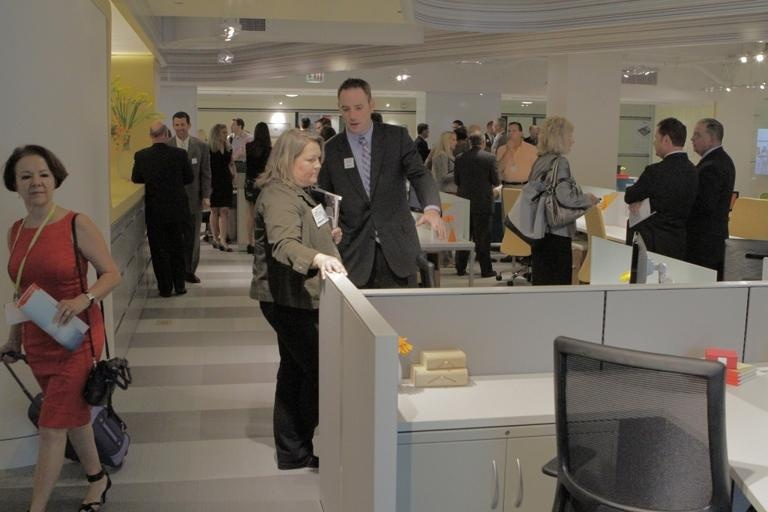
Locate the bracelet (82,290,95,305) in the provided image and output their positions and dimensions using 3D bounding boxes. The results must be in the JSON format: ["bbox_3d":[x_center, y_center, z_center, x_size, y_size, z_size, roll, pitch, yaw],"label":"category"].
[{"bbox_3d":[-1.570,0.221,3.084,0.050,0.072,0.076,-6,21,-22],"label":"bracelet"}]

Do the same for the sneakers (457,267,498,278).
[{"bbox_3d":[1.433,0.257,8.715,0.634,0.272,0.203,-4,1,20],"label":"sneakers"}]

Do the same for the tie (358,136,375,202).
[{"bbox_3d":[-0.086,-0.601,3.621,0.068,0.321,0.151,0,5,4],"label":"tie"}]

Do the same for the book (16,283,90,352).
[{"bbox_3d":[-1.710,0.327,2.997,0.085,0.365,0.276,-22,32,42],"label":"book"}]
